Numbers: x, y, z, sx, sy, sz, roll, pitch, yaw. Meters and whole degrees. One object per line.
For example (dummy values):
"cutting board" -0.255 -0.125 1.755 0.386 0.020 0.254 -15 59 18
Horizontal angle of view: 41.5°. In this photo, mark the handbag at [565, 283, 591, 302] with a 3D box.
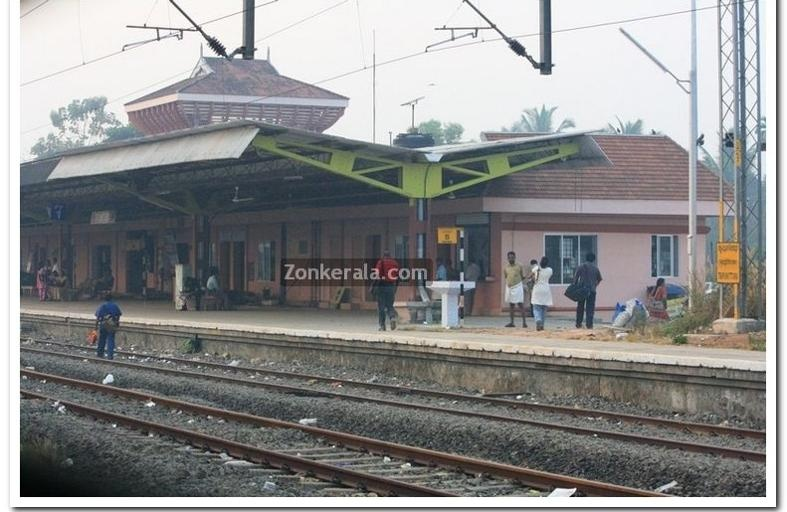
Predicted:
"handbag" 5.244 1.023 29.633 0.570 0.584 0.282 10 14 13

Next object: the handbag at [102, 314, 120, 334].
"handbag" -7.853 1.857 28.798 0.329 0.491 0.323 -2 -5 44

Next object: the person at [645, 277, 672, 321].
"person" 7.286 1.176 28.836 0.517 1.177 0.867 0 -4 15
